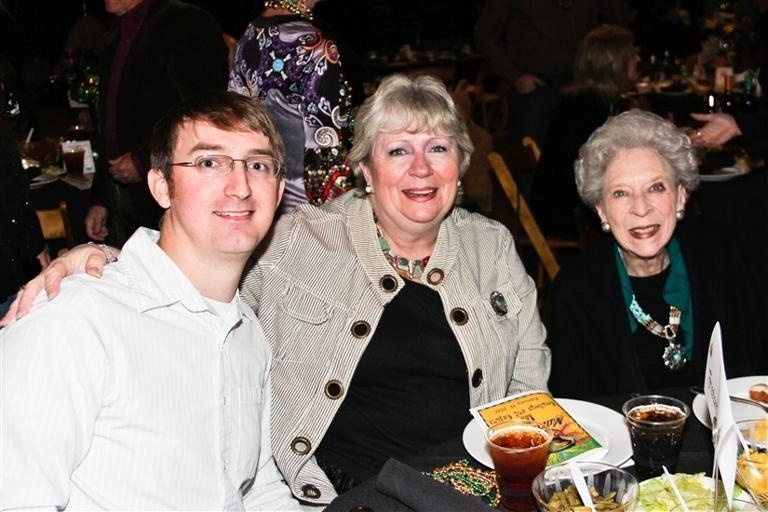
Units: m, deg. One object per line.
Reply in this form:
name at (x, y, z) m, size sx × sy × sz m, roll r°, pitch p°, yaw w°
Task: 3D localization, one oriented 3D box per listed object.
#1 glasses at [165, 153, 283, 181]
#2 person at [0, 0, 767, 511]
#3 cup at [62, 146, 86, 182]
glasses at (-0.508, -0.282, 1.955) m, size 0.344 × 0.081 × 0.071 m, roll -5°, pitch 1°, yaw -18°
person at (-0.037, -0.085, 2.565) m, size 2.471 × 0.553 × 1.563 m, roll -11°, pitch 47°, yaw -13°
cup at (-2.029, -0.600, 3.972) m, size 0.156 × 0.152 × 0.137 m, roll -14°, pitch 14°, yaw -41°
